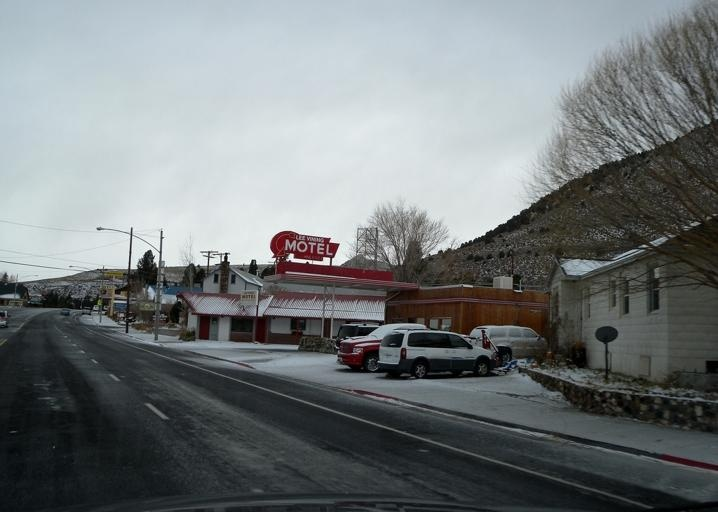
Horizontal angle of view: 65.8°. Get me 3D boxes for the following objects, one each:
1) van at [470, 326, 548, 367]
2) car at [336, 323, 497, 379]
[{"bbox_3d":[8.200,4.785,29.592,3.679,1.531,1.961,-2,-2,-20],"label":"van"},{"bbox_3d":[2.803,4.302,24.669,6.323,2.178,3.914,1,-5,14],"label":"car"}]
